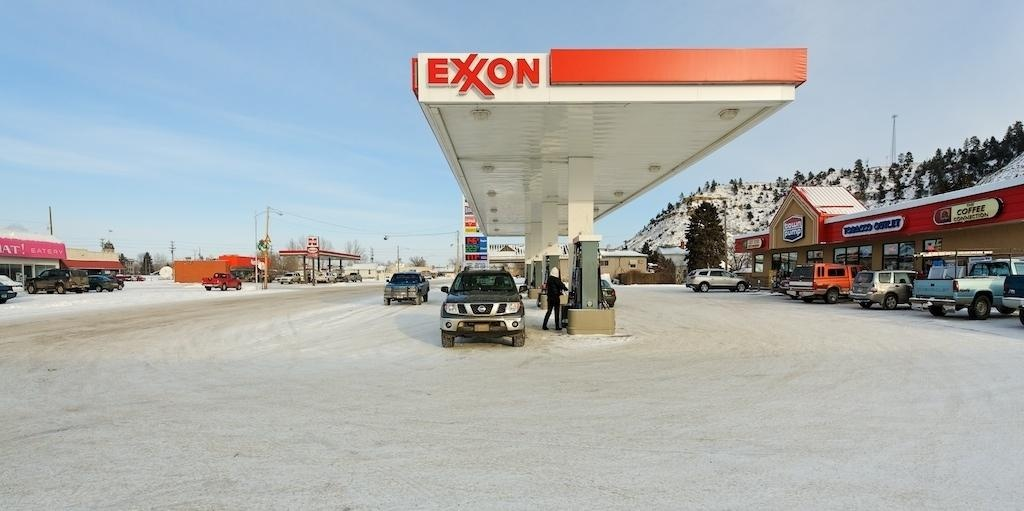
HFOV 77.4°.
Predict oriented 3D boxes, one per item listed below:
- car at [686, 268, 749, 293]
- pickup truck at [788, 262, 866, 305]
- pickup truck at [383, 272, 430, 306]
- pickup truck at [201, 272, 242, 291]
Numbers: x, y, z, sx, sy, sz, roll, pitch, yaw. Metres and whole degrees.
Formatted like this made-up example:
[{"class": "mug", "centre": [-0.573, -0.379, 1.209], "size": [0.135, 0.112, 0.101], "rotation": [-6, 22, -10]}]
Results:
[{"class": "car", "centre": [16.411, 1.946, 51.058], "size": [4.730, 1.448, 1.889], "rotation": [-1, 2, -2]}, {"class": "pickup truck", "centre": [18.313, 1.604, 38.040], "size": [4.043, 1.404, 2.101], "rotation": [-4, 3, -24]}, {"class": "pickup truck", "centre": [-6.231, 2.023, 37.795], "size": [1.959, 1.257, 3.413], "rotation": [-1, -3, 0]}, {"class": "pickup truck", "centre": [-25.891, 2.401, 57.153], "size": [2.043, 1.217, 3.413], "rotation": [0, 5, 0]}]
